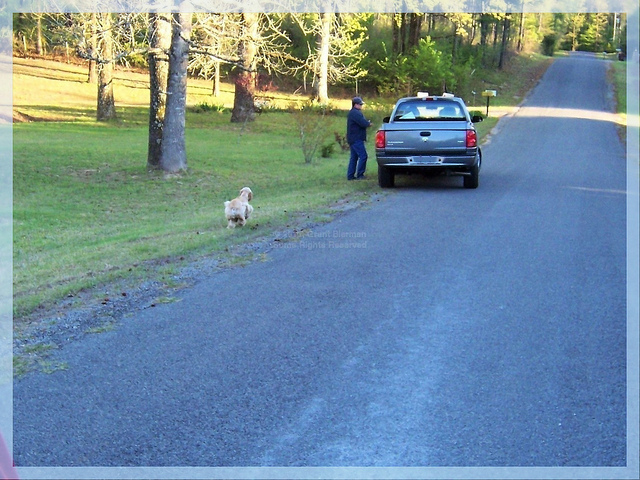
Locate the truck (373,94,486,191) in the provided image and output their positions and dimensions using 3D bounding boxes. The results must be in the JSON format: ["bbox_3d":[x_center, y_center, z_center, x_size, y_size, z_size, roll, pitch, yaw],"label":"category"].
[{"bbox_3d":[3.017,-2.963,16.277,1.960,1.641,3.497,1,17,8],"label":"truck"}]

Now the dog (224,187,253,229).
[{"bbox_3d":[-1.687,-0.691,11.869,0.498,0.606,1.393,6,23,2],"label":"dog"}]
